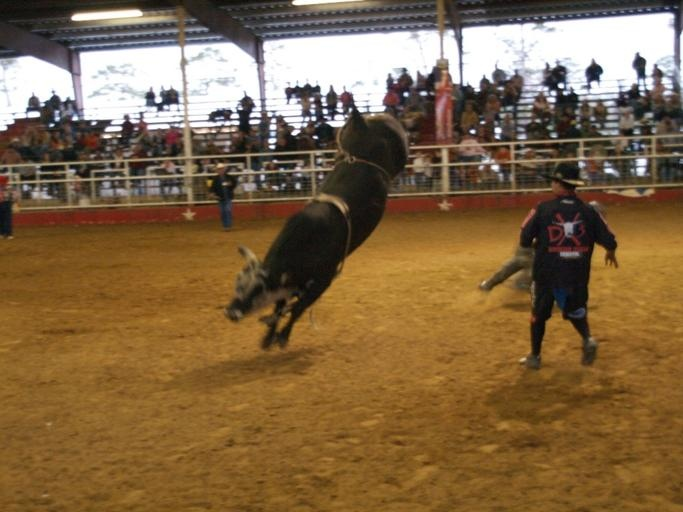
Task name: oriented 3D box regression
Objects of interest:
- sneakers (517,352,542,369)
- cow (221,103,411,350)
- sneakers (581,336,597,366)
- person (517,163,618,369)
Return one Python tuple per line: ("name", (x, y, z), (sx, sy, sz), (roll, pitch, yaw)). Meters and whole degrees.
("sneakers", (1.763, 0.970, 6.422), (0.112, 0.089, 0.256), (-2, 2, -19))
("cow", (-0.213, -0.264, 6.764), (0.680, 2.354, 2.138), (6, 11, 44))
("sneakers", (2.240, 0.857, 6.249), (0.144, 0.233, 0.140), (7, 3, 22))
("person", (2.040, 0.114, 6.230), (0.823, 1.875, 0.322), (-1, 9, 11))
